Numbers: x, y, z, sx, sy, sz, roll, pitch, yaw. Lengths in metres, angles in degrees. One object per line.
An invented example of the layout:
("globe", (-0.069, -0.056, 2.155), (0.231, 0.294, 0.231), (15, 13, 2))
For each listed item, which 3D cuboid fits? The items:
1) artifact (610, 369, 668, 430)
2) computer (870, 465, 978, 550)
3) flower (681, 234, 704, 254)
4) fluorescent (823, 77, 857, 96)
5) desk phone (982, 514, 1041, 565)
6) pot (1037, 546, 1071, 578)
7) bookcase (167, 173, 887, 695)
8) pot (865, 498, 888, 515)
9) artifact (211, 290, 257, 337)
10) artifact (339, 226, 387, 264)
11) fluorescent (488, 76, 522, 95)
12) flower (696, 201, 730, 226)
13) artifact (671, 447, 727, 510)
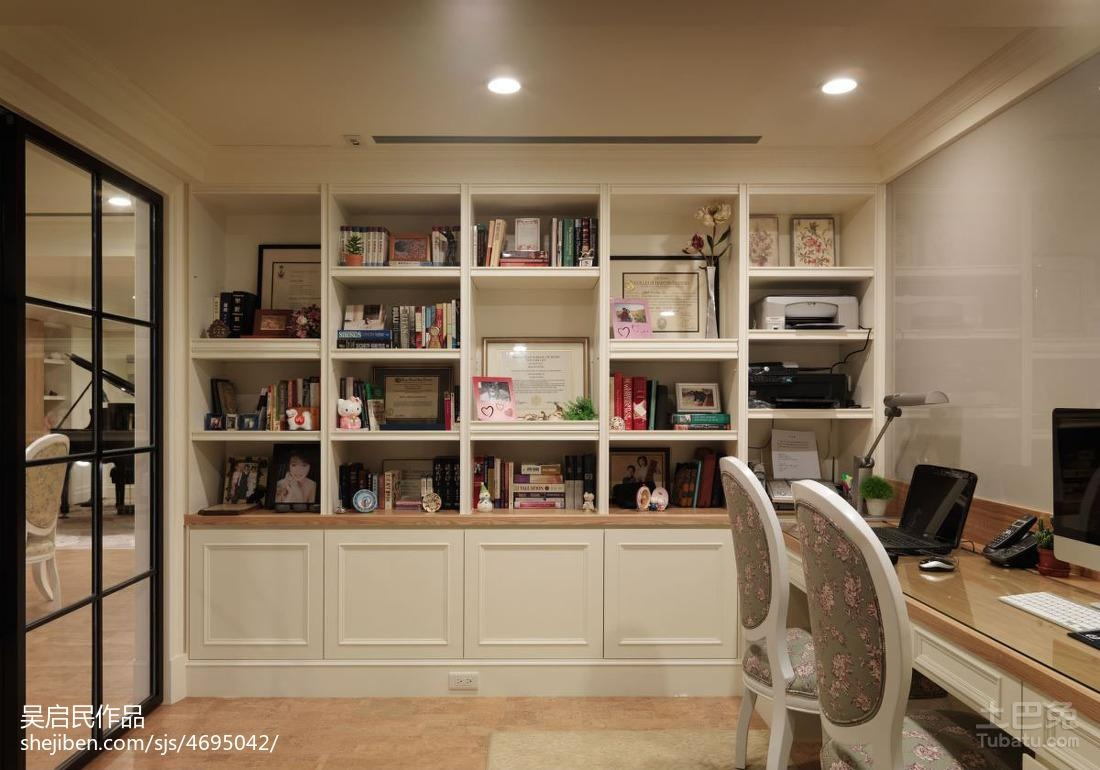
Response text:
("artifact", (0.447, 0.106, 4.219), (0.356, 0.328, 0.260), (2, -5, -10))
("computer", (1.575, 0.470, 3.503), (0.359, 0.263, 0.384), (-5, 2, -3))
("flower", (0.737, -0.723, 4.319), (0.104, 0.092, 0.094), (-1, 3, 4))
("fluorescent", (0.894, -0.918, 2.578), (0.103, 0.037, 0.177), (1, 12, 9))
("desk phone", (1.771, 0.589, 3.269), (0.196, 0.193, 0.197), (4, -6, 4))
("pot", (1.859, 0.663, 3.095), (0.121, 0.089, 0.119), (0, 0, 0))
("bookcase", (-0.167, 0.255, 4.032), (2.619, 1.876, 0.353), (0, -4, -2))
("pot", (1.538, 0.570, 3.919), (0.085, 0.061, 0.084), (2, -6, 0))
("artifact", (-1.560, -0.321, 4.239), (0.211, 0.262, 0.277), (1, -3, 2))
("artifact", (-0.912, -0.676, 4.186), (0.260, 0.238, 0.183), (2, 4, 2))
("fluorescent", (-0.141, -0.922, 2.587), (0.100, 0.042, 0.128), (-2, 12, -9))
("flower", (0.822, -0.858, 4.250), (0.128, 0.105, 0.128), (0, -1, -4))
("artifact", (0.735, 0.478, 4.297), (0.272, 0.335, 0.359), (1, -2, 1))
